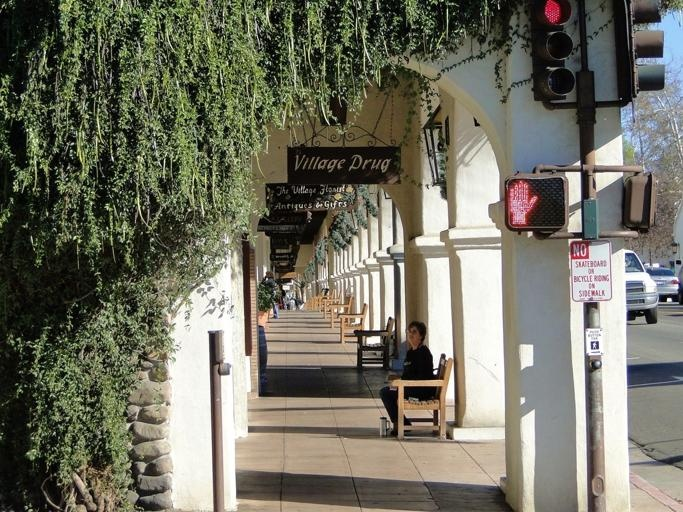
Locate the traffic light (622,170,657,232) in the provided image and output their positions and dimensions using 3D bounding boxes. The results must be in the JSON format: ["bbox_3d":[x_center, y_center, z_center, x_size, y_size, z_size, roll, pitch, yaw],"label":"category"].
[{"bbox_3d":[2.532,-0.464,6.162,0.242,0.620,0.452,0,2,-4],"label":"traffic light"}]

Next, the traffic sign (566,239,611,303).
[{"bbox_3d":[2.076,0.116,6.038,0.418,0.746,0.029,0,-6,-2],"label":"traffic sign"}]

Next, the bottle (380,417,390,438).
[{"bbox_3d":[0.547,2.178,9.214,0.119,0.319,0.187,-2,-3,28],"label":"bottle"}]

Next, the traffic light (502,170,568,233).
[{"bbox_3d":[1.562,-0.397,6.050,0.588,0.748,0.371,0,-1,2],"label":"traffic light"}]
